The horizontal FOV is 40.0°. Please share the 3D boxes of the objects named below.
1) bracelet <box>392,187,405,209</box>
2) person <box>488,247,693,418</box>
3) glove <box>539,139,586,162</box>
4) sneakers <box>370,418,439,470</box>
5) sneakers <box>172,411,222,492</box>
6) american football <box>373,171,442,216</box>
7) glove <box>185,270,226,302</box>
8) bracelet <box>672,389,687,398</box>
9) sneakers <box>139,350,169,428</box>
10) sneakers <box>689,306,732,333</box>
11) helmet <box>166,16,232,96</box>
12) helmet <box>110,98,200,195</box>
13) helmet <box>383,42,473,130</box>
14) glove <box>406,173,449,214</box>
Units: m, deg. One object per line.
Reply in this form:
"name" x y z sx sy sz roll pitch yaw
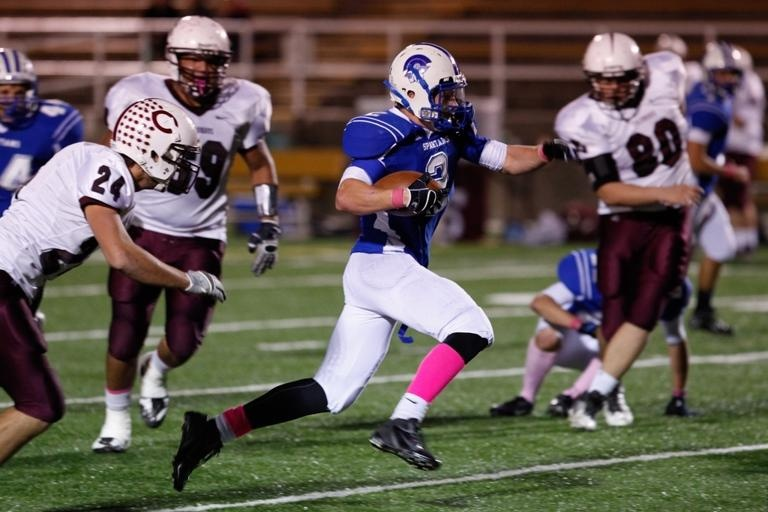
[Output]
"bracelet" 0.055 -0.249 4.536 0.055 0.081 0.029 -1 9 -2
"person" 1.077 0.467 5.645 0.780 0.591 1.113 23 -39 -28
"glove" 0.880 -0.520 5.211 0.229 0.074 0.098 3 -5 -36
"sneakers" 0.084 0.808 4.510 0.293 0.207 0.132 0 9 4
"sneakers" -0.834 0.832 4.692 0.181 0.390 0.151 23 -9 -22
"american football" 0.099 -0.278 4.603 0.253 0.132 0.193 5 3 4
"glove" -0.804 0.138 4.744 0.112 0.068 0.179 24 0 27
"bracelet" 1.542 0.725 5.538 0.046 0.029 0.036 5 -7 -13
"sneakers" -1.173 0.693 5.466 0.146 0.375 0.170 3 -17 -12
"sneakers" 1.692 0.340 5.496 0.201 0.111 0.103 3 5 10
"helmet" -0.952 -1.026 5.380 0.338 0.391 0.428 -3 19 -26
"helmet" -1.102 -0.515 4.703 0.470 0.404 0.342 3 6 -21
"helmet" 0.234 -0.810 4.898 0.460 0.355 0.345 19 22 15
"glove" 0.186 -0.269 4.638 0.168 0.192 0.263 0 8 4
